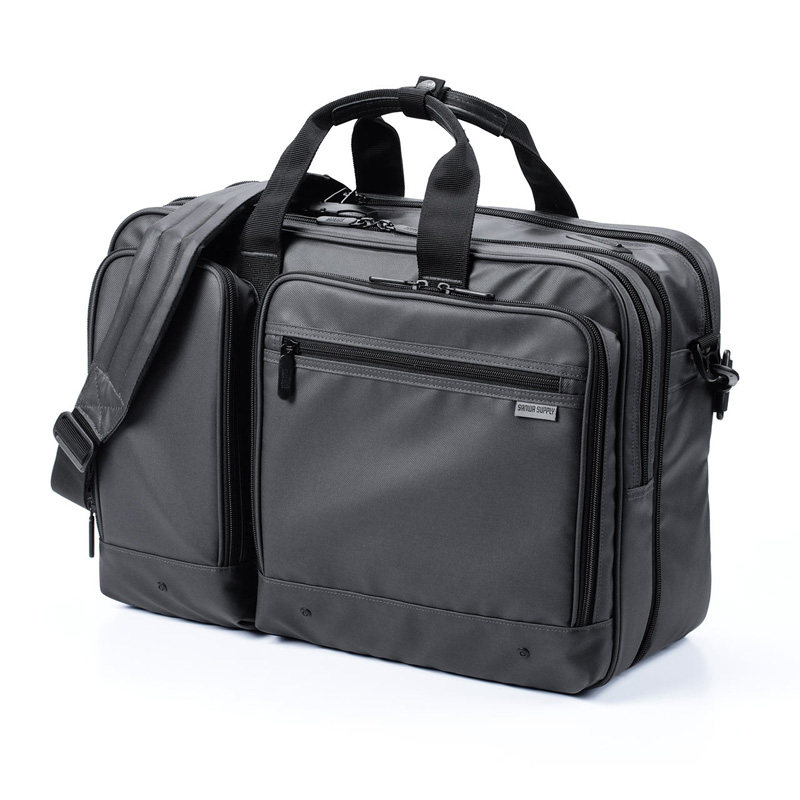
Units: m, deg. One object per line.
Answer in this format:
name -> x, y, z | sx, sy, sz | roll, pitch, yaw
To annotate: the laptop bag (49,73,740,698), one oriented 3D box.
laptop bag -> -0.024, -0.052, 1.643 | 1.133, 0.793, 0.584 | 9, 17, 28
